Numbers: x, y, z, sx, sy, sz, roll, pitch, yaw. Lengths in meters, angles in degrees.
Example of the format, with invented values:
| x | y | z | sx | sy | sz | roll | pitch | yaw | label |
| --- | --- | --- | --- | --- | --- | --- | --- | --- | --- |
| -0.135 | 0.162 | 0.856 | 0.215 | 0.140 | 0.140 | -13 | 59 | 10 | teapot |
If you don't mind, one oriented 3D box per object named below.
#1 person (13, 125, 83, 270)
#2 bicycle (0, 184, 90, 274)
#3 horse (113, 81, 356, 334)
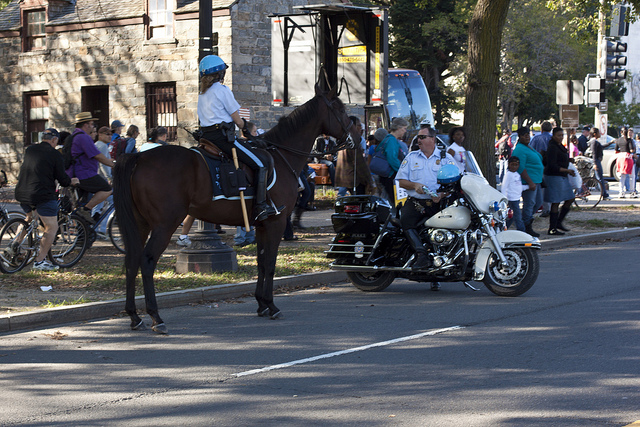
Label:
| x | y | z | sx | sy | sz | roll | pitch | yaw | label |
| --- | --- | --- | --- | --- | --- | --- | --- | --- | --- |
| -5.898 | -0.322 | 28.495 | 1.001 | 3.014 | 1.489 | 2 | 7 | 15 | person |
| -6.114 | 0.607 | 28.589 | 2.682 | 1.413 | 1.176 | -2 | 0 | -18 | bicycle |
| -1.774 | -0.211 | 26.509 | 5.825 | 4.547 | 1.835 | -4 | 4 | -31 | horse |
